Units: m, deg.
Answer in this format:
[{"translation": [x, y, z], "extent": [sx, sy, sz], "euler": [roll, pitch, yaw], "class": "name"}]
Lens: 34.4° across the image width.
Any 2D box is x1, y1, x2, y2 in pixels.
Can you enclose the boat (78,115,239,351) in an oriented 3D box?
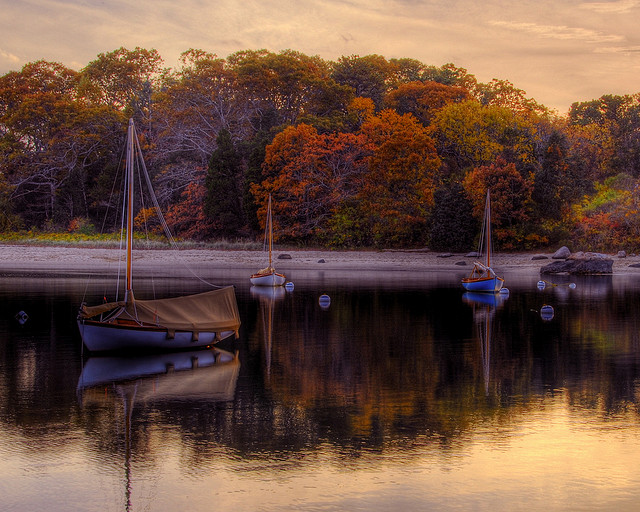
[{"translation": [-6.179, -0.464, 40.830], "extent": [2.931, 9.011, 8.107], "euler": [-4, -3, 38], "class": "boat"}]
